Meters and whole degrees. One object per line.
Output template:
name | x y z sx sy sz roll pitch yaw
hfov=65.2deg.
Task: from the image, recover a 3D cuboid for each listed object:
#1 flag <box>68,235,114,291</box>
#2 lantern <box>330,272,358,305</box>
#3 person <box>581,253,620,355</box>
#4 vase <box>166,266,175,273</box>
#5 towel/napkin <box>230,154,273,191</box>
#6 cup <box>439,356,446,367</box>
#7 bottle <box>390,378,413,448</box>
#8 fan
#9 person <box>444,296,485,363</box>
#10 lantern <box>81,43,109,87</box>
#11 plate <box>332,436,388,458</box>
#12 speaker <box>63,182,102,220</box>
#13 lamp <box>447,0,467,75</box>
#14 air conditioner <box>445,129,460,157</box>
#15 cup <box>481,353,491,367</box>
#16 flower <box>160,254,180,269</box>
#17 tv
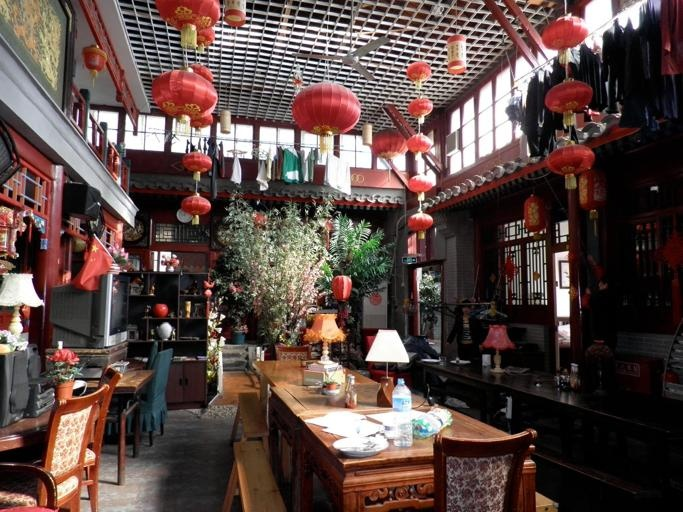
flag | -2.989 0.085 6.275 0.404 0.685 0.429 -12 -27 7
lantern | -0.004 0.521 8.795 0.446 0.523 0.455 -2 -1 33
person | 3.366 0.609 6.961 0.388 1.272 0.354 5 -25 16
vase | -2.633 0.197 8.168 0.106 0.077 0.091 5 -4 -36
towel/napkin | -2.022 -1.817 11.875 0.804 0.757 0.247 3 5 0
cup | 1.340 1.373 6.972 0.089 0.102 0.090 0 -4 0
bottle | 0.422 1.052 3.638 0.133 0.370 0.364 -2 0 8
fan | -0.034 -3.762 9.193 1.145 1.160 0.912 28 -35 -37
person | 2.038 1.405 8.713 0.593 1.305 0.359 1 8 28
lantern | -3.459 -2.721 7.416 0.284 0.577 0.373 -2 0 -23
plate | 0.130 1.221 3.436 0.363 0.104 0.231 -2 0 -2
speaker | -3.112 -0.656 6.413 0.347 0.485 0.625 1 -3 -6
lamp | 1.584 -2.771 7.266 0.244 0.485 0.574 -2 0 12
air conditioner | 2.410 -2.404 11.437 0.195 0.543 0.619 4 -12 -11
cup | 1.780 1.253 6.478 0.151 0.177 0.155 1 2 0
flower | -2.894 0.093 8.885 0.198 0.065 0.204 11 21 5
tv | -2.813 0.569 6.039 0.747 0.807 0.818 0 -3 -9
